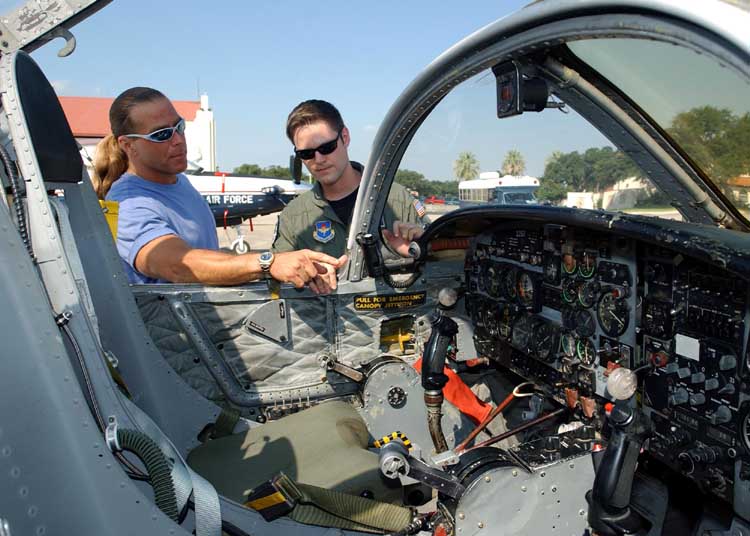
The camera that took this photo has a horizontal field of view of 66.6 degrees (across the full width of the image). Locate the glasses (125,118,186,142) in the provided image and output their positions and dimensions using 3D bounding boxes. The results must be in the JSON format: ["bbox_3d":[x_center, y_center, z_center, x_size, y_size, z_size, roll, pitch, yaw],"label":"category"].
[{"bbox_3d":[-1.360,-0.858,3.645,0.231,0.066,0.201,1,23,13],"label":"glasses"}]

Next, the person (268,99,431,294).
[{"bbox_3d":[-0.124,-0.368,3.569,0.975,1.167,0.663,-13,15,40],"label":"person"}]
